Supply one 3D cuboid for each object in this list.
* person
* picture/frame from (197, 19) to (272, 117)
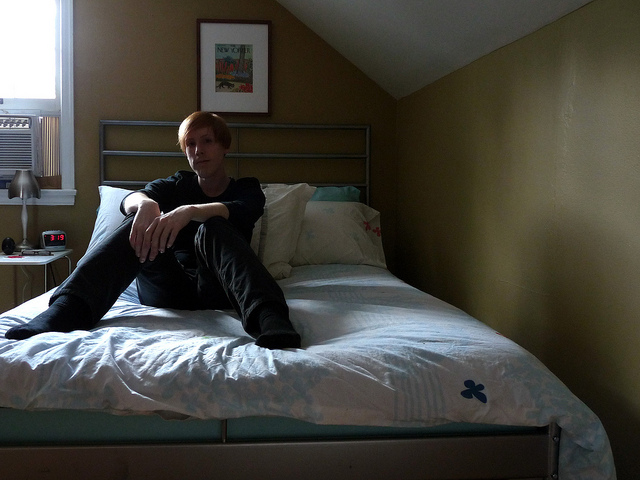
[{"bbox_3d":[-0.469,-0.005,2.056,0.718,0.759,0.871,2,-5,2],"label":"person"},{"bbox_3d":[-0.508,-1.005,3.452,0.424,0.588,0.022,0,-9,-5],"label":"picture/frame"}]
